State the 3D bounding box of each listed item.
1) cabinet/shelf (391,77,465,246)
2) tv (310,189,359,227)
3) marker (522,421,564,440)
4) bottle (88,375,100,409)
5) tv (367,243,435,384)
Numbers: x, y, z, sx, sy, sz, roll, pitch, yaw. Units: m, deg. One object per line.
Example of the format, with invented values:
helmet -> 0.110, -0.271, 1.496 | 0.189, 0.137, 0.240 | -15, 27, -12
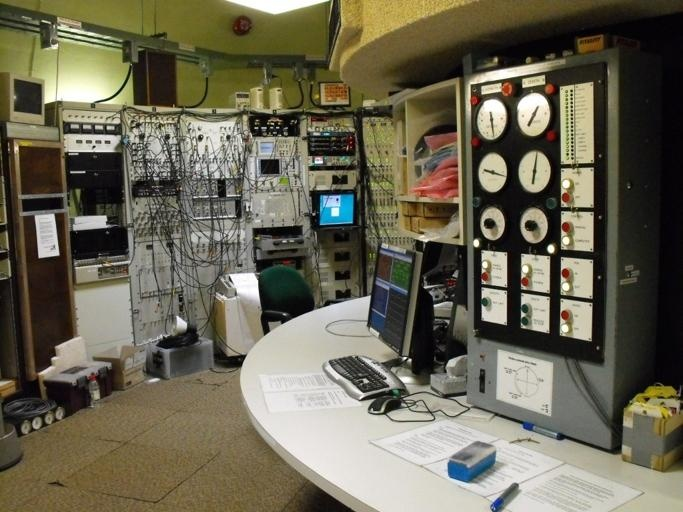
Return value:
cabinet/shelf -> 0.423, -0.469, 2.657 | 0.228, 0.702, 0.802 | -1, 5, -3
tv -> -0.099, -0.470, 5.559 | 0.580, 0.524, 0.312 | -1, 5, -13
marker -> 0.733, 0.632, 1.994 | 0.033, 0.036, 0.144 | 7, 8, -44
bottle -> -1.874, 1.008, 4.181 | 0.038, 0.240, 0.124 | 1, 14, 12
tv -> 0.274, 0.284, 2.536 | 0.199, 0.555, 0.530 | 1, 7, -12
